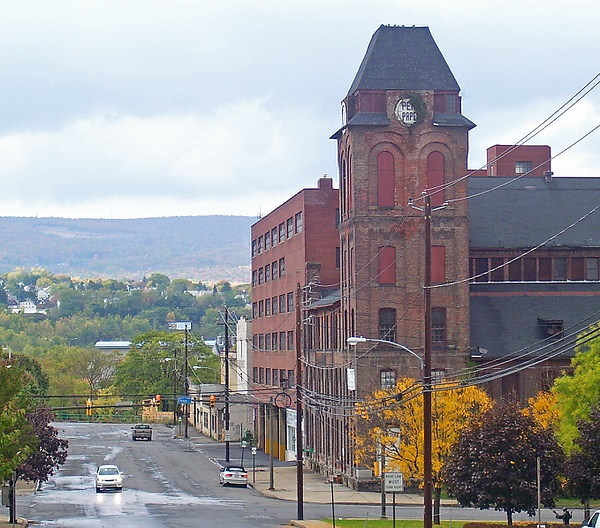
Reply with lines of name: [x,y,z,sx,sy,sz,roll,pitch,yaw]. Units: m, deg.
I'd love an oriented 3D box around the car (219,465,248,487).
car: [-4.952,16.350,140.387,2.023,1.672,1.590,0,-10,0]

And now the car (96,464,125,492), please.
car: [-14.094,16.147,136.208,1.800,1.989,2.095,2,-10,-11]

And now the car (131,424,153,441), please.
car: [-15.445,16.841,181.629,1.795,1.852,2.565,1,-10,-5]
